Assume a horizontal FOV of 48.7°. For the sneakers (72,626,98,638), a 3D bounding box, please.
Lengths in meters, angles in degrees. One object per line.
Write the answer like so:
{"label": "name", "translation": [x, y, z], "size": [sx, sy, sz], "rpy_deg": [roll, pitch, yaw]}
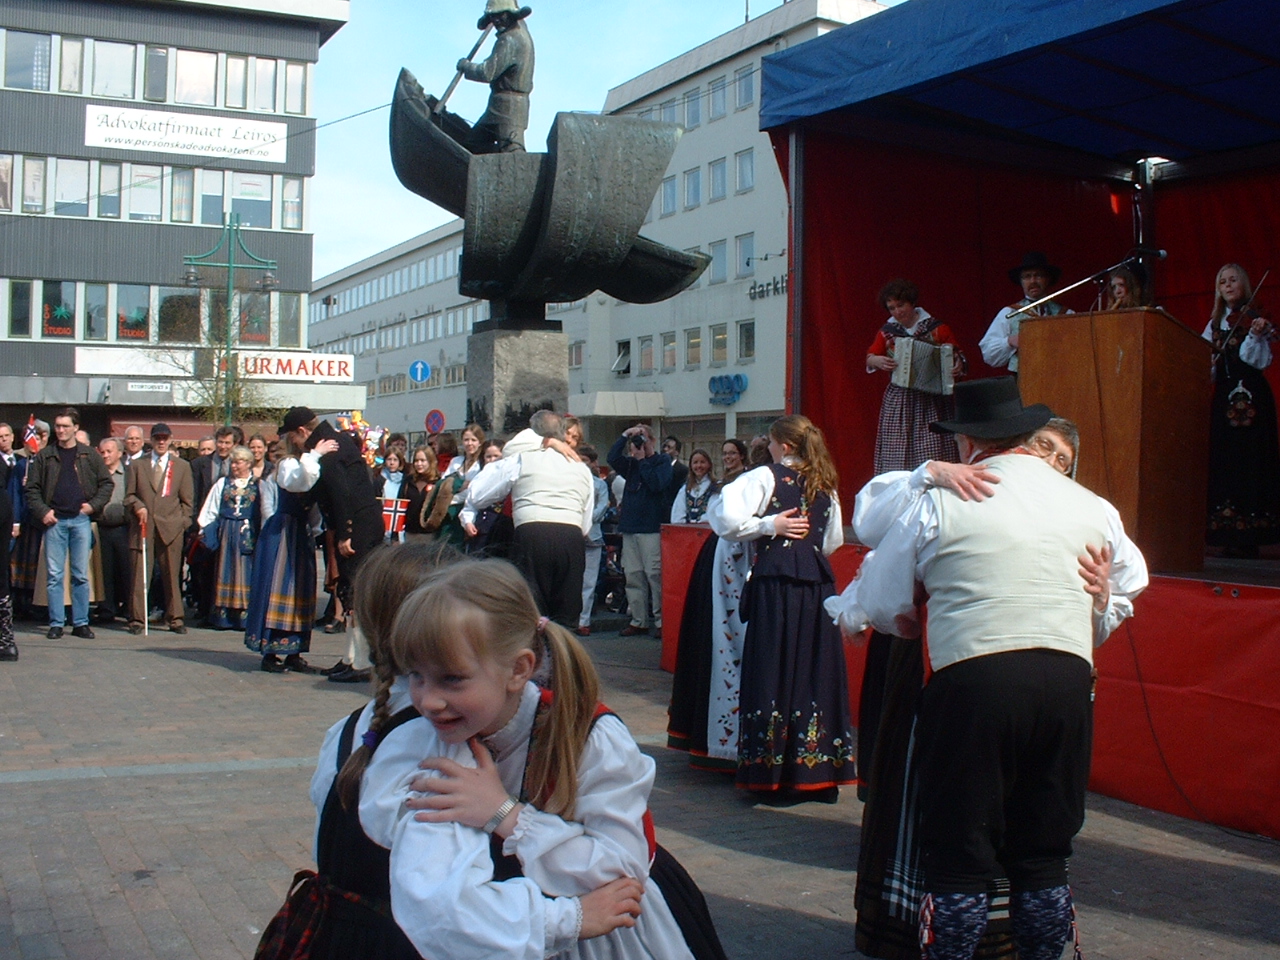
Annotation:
{"label": "sneakers", "translation": [-5.043, 1.395, 12.912], "size": [0.250, 0.108, 0.088], "rpy_deg": [-4, -6, 42]}

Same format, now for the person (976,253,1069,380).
{"label": "person", "translation": [2.813, -1.168, 10.206], "size": [0.648, 0.973, 0.503], "rpy_deg": [0, -3, 13]}

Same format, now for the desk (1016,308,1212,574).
{"label": "desk", "translation": [2.793, -0.175, 8.875], "size": [0.840, 1.519, 0.867], "rpy_deg": [1, -21, 13]}

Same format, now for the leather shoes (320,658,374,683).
{"label": "leather shoes", "translation": [-2.260, 1.518, 11.079], "size": [0.267, 0.112, 0.211], "rpy_deg": [8, -9, -16]}

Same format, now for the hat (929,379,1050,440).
{"label": "hat", "translation": [1.391, -0.273, 5.713], "size": [0.298, 0.153, 0.335], "rpy_deg": [-15, 9, -37]}

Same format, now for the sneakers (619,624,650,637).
{"label": "sneakers", "translation": [-0.035, 1.432, 13.473], "size": [0.281, 0.127, 0.099], "rpy_deg": [9, -12, -25]}

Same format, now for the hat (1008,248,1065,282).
{"label": "hat", "translation": [3.077, -1.684, 11.063], "size": [0.457, 0.198, 0.500], "rpy_deg": [0, -10, 23]}

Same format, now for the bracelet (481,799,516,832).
{"label": "bracelet", "translation": [-0.401, 0.982, 4.111], "size": [0.088, 0.088, 0.081], "rpy_deg": [35, -7, 6]}

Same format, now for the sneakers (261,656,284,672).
{"label": "sneakers", "translation": [-2.940, 1.486, 11.385], "size": [0.103, 0.150, 0.142], "rpy_deg": [2, -1, -19]}
